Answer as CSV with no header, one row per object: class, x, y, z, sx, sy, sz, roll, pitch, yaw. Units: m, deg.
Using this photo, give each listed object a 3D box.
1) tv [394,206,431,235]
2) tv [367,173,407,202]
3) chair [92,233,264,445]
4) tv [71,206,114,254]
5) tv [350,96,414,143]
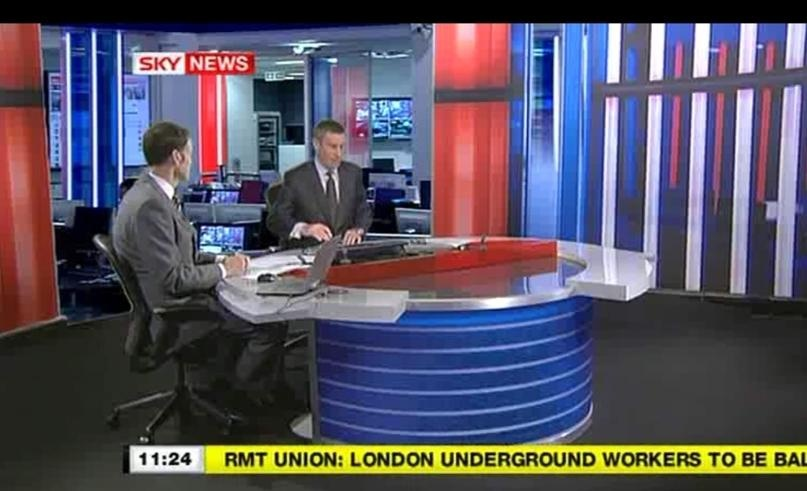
tv,0.090,-0.263,7.624,0.435,0.258,0.059,5,14,32
tv,-0.256,-0.894,10.923,0.796,0.472,0.423,0,-2,34
chair,-1.717,0.697,6.158,1.621,1.993,1.559,-3,6,-18
tv,-3.454,-0.176,7.743,0.647,0.516,0.161,3,2,11
tv,-0.507,-3.054,16.992,1.740,1.044,0.040,7,15,33
